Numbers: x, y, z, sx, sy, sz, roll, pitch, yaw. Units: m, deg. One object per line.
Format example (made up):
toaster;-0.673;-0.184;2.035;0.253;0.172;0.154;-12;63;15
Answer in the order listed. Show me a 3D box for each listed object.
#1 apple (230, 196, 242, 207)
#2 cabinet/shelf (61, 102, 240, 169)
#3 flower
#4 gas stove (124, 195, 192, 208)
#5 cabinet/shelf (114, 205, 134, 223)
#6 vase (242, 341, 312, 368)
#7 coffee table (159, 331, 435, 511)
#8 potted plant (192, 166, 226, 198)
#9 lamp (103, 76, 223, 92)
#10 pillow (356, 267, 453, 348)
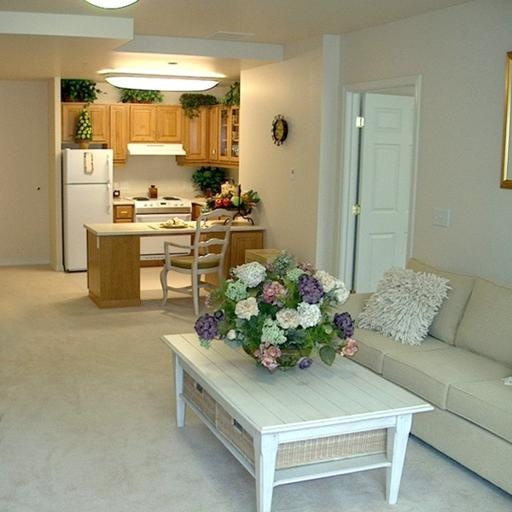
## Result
apple;-0.271;-0.736;6.041;0.133;0.094;0.132;30;52;30
cabinet/shelf;-1.702;-2.104;7.815;2.690;1.142;1.052;1;6;1
flower;0.108;0.244;2.047;0.615;0.400;0.606;3;1;-35
gas stove;-1.685;-0.944;7.867;1.087;0.198;0.639;-1;5;-14
cabinet/shelf;-2.216;-0.714;7.507;0.303;0.400;0.296;-2;9;-25
vase;0.111;0.439;1.954;0.200;0.081;0.195;1;6;18
coffee table;0.242;0.442;1.834;0.695;0.411;1.074;-2;10;-22
potted plant;-0.876;-1.415;8.541;0.636;0.427;0.616;-3;12;-15
lamp;-1.243;-2.384;6.188;0.938;0.125;0.552;-3;16;-16
pillow;1.008;0.355;2.993;0.384;0.393;0.122;21;-10;47
